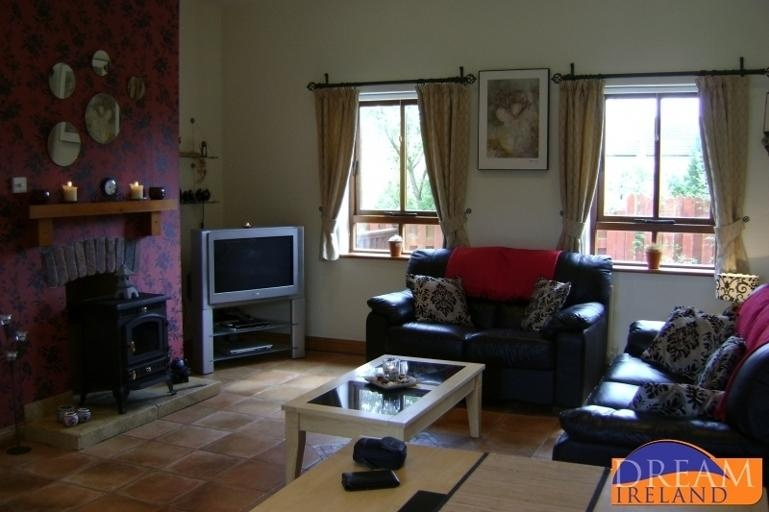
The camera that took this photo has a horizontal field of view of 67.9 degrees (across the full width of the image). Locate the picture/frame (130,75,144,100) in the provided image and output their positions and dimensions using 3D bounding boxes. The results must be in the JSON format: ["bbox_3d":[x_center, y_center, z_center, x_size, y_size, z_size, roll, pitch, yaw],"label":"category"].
[{"bbox_3d":[-2.222,-1.510,5.151,0.026,0.213,0.175,5,11,28],"label":"picture/frame"}]

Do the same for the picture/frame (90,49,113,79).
[{"bbox_3d":[-2.410,-1.640,4.856,0.033,0.220,0.279,1,-5,20],"label":"picture/frame"}]

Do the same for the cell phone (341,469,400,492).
[{"bbox_3d":[-0.069,1.098,2.816,0.164,0.039,0.121,-1,3,-6],"label":"cell phone"}]

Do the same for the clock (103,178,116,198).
[{"bbox_3d":[-2.369,-0.591,4.919,0.054,0.167,0.167,1,4,19],"label":"clock"}]

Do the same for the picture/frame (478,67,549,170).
[{"bbox_3d":[1.315,-1.409,5.850,0.761,1.024,0.035,4,13,24],"label":"picture/frame"}]

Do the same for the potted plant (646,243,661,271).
[{"bbox_3d":[2.642,0.010,5.613,0.140,0.247,0.114,3,11,20],"label":"potted plant"}]

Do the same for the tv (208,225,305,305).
[{"bbox_3d":[-1.504,0.055,6.361,1.241,0.835,0.653,-6,15,-29],"label":"tv"}]

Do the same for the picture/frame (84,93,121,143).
[{"bbox_3d":[-2.411,-1.183,4.871,0.023,0.506,0.421,4,8,27],"label":"picture/frame"}]

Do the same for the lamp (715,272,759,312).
[{"bbox_3d":[3.156,0.349,5.144,0.315,0.357,0.323,5,4,33],"label":"lamp"}]

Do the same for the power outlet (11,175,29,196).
[{"bbox_3d":[-2.804,-0.548,4.397,0.028,0.114,0.125,6,7,40],"label":"power outlet"}]

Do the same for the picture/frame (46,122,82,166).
[{"bbox_3d":[-2.597,-0.913,4.643,0.285,0.365,0.016,8,4,6],"label":"picture/frame"}]

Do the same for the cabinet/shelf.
[{"bbox_3d":[-1.548,0.779,6.416,1.202,0.769,0.653,-4,6,-30],"label":"cabinet/shelf"}]

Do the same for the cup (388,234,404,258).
[{"bbox_3d":[0.127,-0.110,6.386,0.204,0.261,0.206,0,-2,0],"label":"cup"}]

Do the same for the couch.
[{"bbox_3d":[0.990,0.584,5.561,2.093,1.321,1.309,2,5,35],"label":"couch"}]

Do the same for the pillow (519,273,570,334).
[{"bbox_3d":[1.437,0.445,5.170,0.140,0.434,0.455,22,0,-20],"label":"pillow"}]
